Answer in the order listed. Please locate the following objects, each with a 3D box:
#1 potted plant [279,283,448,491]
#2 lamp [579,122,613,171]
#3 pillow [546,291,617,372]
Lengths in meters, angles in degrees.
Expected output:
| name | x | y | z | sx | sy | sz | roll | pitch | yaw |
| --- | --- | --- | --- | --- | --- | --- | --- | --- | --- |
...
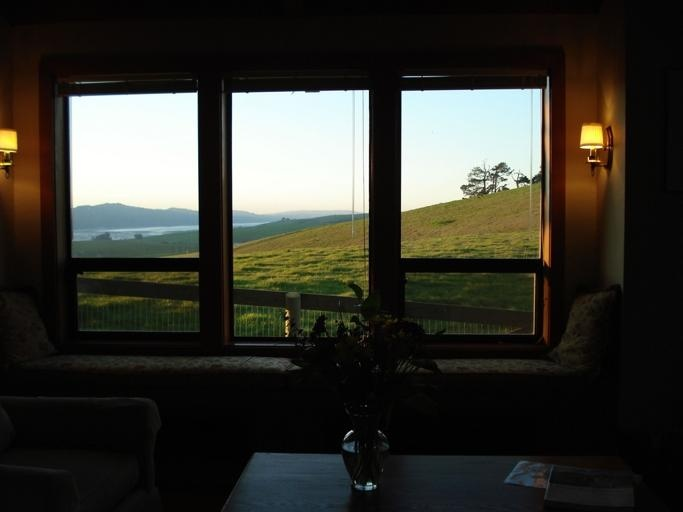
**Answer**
| name | x | y | z | sx | sy | sz | roll | pitch | yaw |
| --- | --- | --- | --- | --- | --- | --- | --- | --- | --- |
| potted plant | 0.161 | 0.640 | 3.488 | 0.887 | 1.193 | 1.076 | -7 | -10 | 30 |
| lamp | 1.808 | -0.779 | 4.428 | 0.214 | 0.327 | 0.303 | -1 | 8 | 21 |
| pillow | 1.569 | 0.525 | 4.254 | 0.140 | 0.465 | 0.464 | 16 | -8 | -14 |
